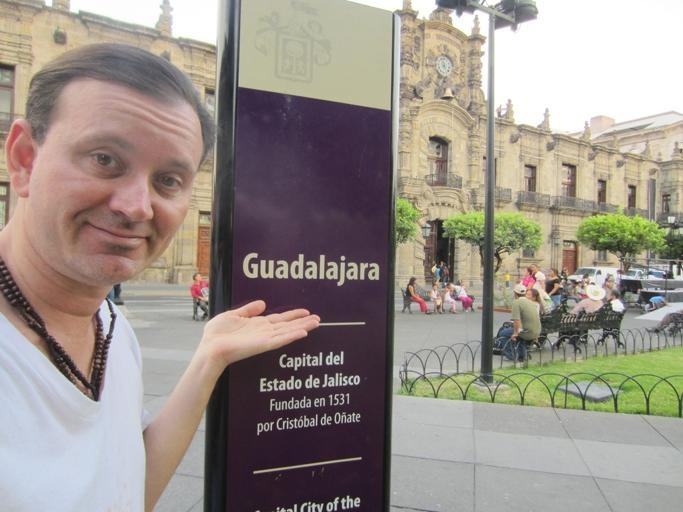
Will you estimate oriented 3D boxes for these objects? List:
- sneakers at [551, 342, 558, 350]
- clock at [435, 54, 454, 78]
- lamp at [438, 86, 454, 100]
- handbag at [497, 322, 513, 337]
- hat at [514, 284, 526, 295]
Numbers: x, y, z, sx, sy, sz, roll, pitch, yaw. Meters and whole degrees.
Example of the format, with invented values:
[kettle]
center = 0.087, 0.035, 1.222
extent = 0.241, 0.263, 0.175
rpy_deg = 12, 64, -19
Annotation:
[sneakers]
center = 3.468, 1.466, 10.320
extent = 0.140, 0.062, 0.201
rpy_deg = 0, 13, 2
[clock]
center = 5.219, -9.709, 32.473
extent = 0.158, 1.218, 1.145
rpy_deg = 7, 23, 40
[lamp]
center = 5.241, -8.186, 32.086
extent = 0.780, 0.843, 0.799
rpy_deg = 5, 10, 19
[handbag]
center = 2.436, 1.109, 9.438
extent = 0.199, 0.086, 0.201
rpy_deg = -8, 8, 4
[hat]
center = 2.802, 0.539, 9.946
extent = 0.189, 0.128, 0.245
rpy_deg = 2, 13, 14
